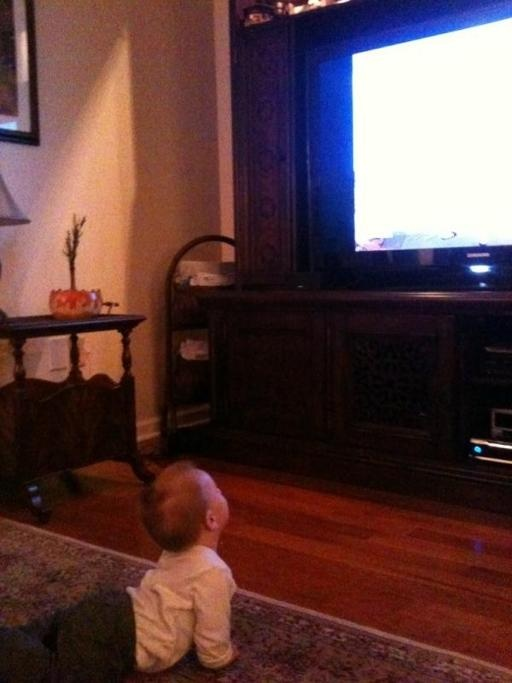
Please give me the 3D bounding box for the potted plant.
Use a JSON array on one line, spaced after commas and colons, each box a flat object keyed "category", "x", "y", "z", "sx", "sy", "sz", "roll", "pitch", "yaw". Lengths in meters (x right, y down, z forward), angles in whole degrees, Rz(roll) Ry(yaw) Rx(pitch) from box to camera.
[{"category": "potted plant", "x": -0.606, "y": -0.270, "z": 1.887, "sx": 0.158, "sy": 0.387, "sz": 0.442, "roll": 0, "pitch": 1, "yaw": -17}]
